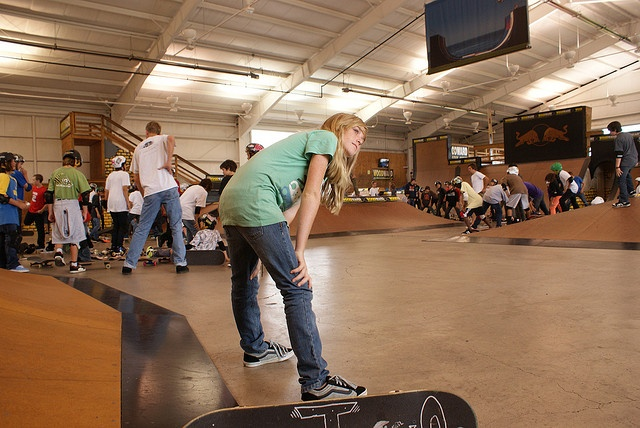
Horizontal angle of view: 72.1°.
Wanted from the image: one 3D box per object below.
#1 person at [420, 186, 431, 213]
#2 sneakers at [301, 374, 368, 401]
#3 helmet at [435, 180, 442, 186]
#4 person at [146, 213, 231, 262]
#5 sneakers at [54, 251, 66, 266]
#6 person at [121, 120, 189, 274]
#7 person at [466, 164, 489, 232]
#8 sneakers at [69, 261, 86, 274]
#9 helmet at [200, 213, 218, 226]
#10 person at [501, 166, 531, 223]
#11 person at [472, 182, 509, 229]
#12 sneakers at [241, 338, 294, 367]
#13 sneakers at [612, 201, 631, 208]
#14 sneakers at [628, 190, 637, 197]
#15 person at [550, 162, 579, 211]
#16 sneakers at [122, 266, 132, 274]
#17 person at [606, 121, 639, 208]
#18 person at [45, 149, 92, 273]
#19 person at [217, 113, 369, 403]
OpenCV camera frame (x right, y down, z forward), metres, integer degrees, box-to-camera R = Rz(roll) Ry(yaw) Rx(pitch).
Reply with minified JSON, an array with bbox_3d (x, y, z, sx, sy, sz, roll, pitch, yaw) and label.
[{"bbox_3d":[4.087,-0.578,16.736,0.391,0.826,1.784,-1,0,14],"label":"person"},{"bbox_3d":[0.082,0.979,2.566,0.405,0.146,0.135,-3,-10,-8],"label":"sneakers"},{"bbox_3d":[4.694,-1.208,17.372,0.245,0.235,0.197,-2,0,37],"label":"helmet"},{"bbox_3d":[-1.880,0.329,6.137,1.203,0.657,0.541,0,-3,21],"label":"person"},{"bbox_3d":[-3.427,0.586,5.720,0.105,0.110,0.240,-2,-9,-8],"label":"sneakers"},{"bbox_3d":[-1.912,-0.209,5.081,0.719,1.789,0.461,-1,-1,-17],"label":"person"},{"bbox_3d":[3.679,-0.338,10.220,0.781,0.763,2.115,2,35,18],"label":"person"},{"bbox_3d":[-2.924,0.629,5.284,0.100,0.113,0.248,1,0,26],"label":"sneakers"},{"bbox_3d":[-1.493,0.089,5.880,0.179,0.151,0.196,17,-6,-37],"label":"helmet"},{"bbox_3d":[4.353,-0.428,9.686,0.502,1.531,0.499,2,-26,14],"label":"person"},{"bbox_3d":[3.648,-0.212,9.345,0.698,1.168,0.647,11,-9,-9],"label":"person"},{"bbox_3d":[-0.334,0.906,2.975,0.381,0.158,0.138,-3,1,-33],"label":"sneakers"},{"bbox_3d":[4.887,-0.149,7.074,0.206,0.093,0.082,5,4,33],"label":"sneakers"},{"bbox_3d":[5.416,-0.344,7.552,0.125,0.143,0.341,2,2,27],"label":"sneakers"},{"bbox_3d":[5.836,-0.545,10.342,0.583,1.227,0.492,-8,9,0],"label":"person"},{"bbox_3d":[-2.218,0.640,5.041,0.103,0.094,0.133,-1,-1,-27],"label":"sneakers"},{"bbox_3d":[5.091,-0.825,7.335,0.361,1.564,0.847,-2,-1,34],"label":"person"},{"bbox_3d":[-3.167,-0.058,5.509,0.467,1.507,0.879,-1,-1,-35],"label":"person"},{"bbox_3d":[-0.162,0.221,2.693,0.885,1.120,0.380,-1,-1,12],"label":"person"}]
